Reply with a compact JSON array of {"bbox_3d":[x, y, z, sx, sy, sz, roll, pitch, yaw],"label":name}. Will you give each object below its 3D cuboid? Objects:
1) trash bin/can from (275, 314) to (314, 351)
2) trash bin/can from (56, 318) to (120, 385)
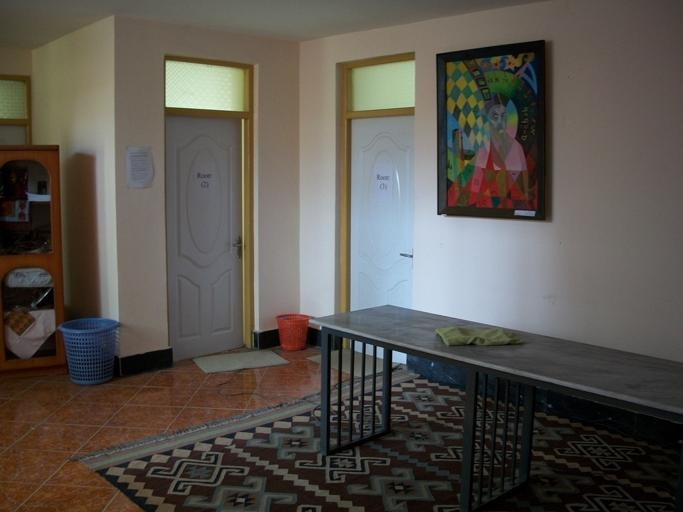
[{"bbox_3d":[-0.591,0.915,6.241,0.542,0.493,0.599,0,1,3],"label":"trash bin/can"},{"bbox_3d":[-2.572,0.958,5.123,0.600,0.588,0.635,-3,6,-29],"label":"trash bin/can"}]
